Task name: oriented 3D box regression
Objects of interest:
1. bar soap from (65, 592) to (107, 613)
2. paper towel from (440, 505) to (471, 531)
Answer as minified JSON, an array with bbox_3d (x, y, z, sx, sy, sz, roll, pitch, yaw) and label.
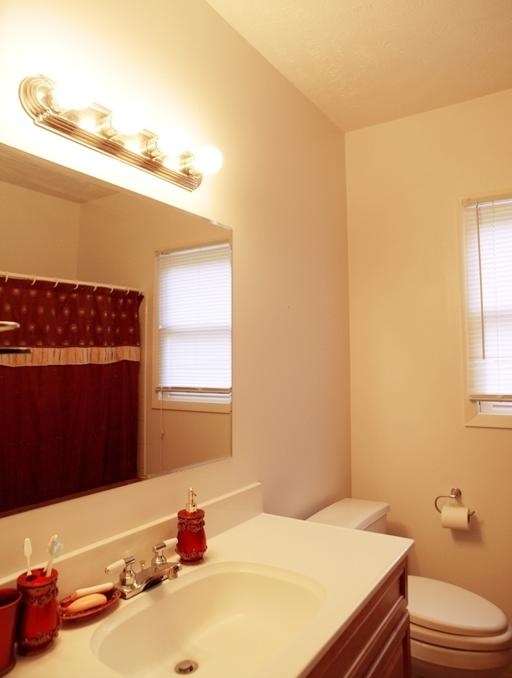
[{"bbox_3d":[-0.298,0.464,0.857,0.051,0.019,0.025,-1,11,-40],"label":"bar soap"},{"bbox_3d":[0.834,0.740,2.021,0.112,0.118,0.094,-1,6,37],"label":"paper towel"}]
